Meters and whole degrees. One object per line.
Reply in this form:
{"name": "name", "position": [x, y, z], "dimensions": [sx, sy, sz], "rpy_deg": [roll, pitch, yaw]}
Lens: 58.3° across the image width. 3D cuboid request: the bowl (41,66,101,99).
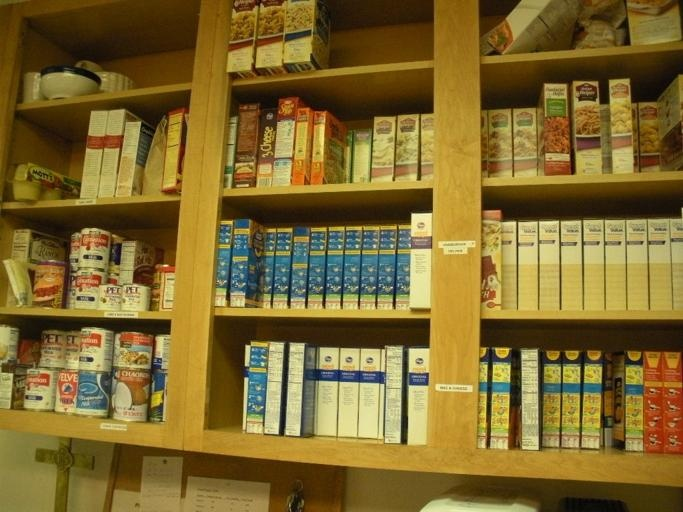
{"name": "bowl", "position": [-1.187, -0.760, 2.630], "dimensions": [0.227, 0.075, 0.188], "rpy_deg": [0, -8, -8]}
